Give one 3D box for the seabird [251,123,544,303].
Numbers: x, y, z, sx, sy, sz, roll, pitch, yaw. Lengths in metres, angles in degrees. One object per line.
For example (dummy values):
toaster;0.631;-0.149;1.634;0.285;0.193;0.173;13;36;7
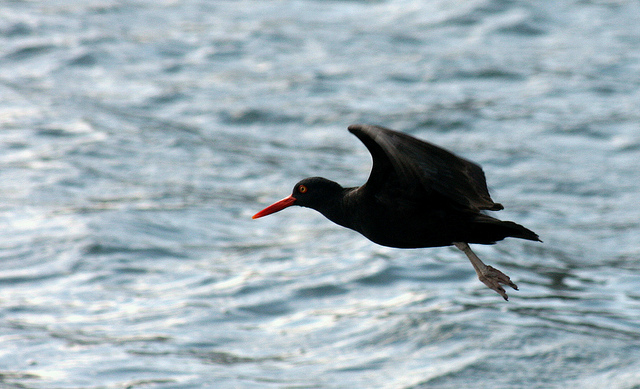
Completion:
seabird;1.210;0.187;11.665;3.248;2.154;1.094;5;13;11
